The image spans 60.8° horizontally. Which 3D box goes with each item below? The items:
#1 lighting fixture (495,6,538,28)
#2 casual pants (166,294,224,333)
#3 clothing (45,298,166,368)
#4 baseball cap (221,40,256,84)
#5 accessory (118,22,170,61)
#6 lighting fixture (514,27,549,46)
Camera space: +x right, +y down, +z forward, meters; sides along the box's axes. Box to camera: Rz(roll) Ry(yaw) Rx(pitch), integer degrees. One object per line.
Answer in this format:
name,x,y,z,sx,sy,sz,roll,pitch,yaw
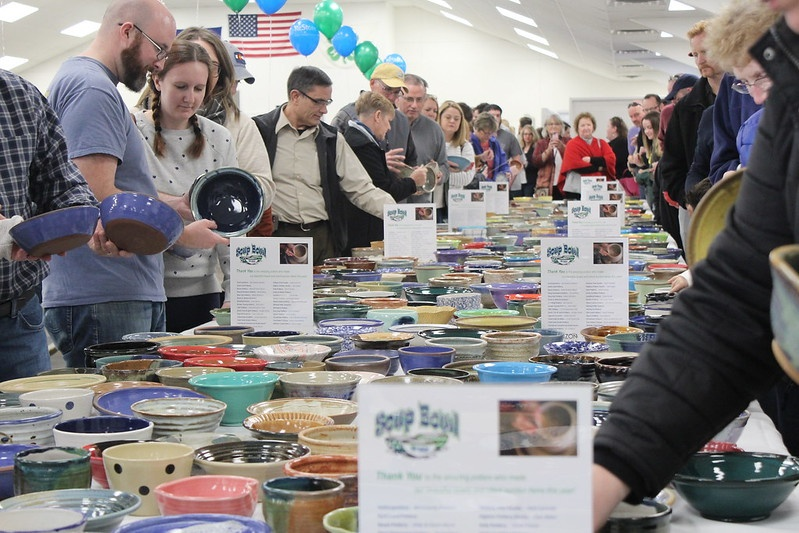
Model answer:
lighting fixture,3.174,-6.695,18.262,1.940,0.119,0.285,29,-19,32
casual pants,-1.003,0.212,3.388,0.263,0.190,0.269,0,-6,3
clothing,-1.240,0.246,2.857,0.354,0.164,0.386,0,-5,13
baseball cap,-1.145,-1.402,4.752,0.338,0.164,0.217,-2,-8,30
accessory,-1.002,-0.876,2.685,0.039,0.135,0.132,-42,-13,7
lighting fixture,4.084,-7.064,20.880,1.598,0.097,0.234,20,-4,30
